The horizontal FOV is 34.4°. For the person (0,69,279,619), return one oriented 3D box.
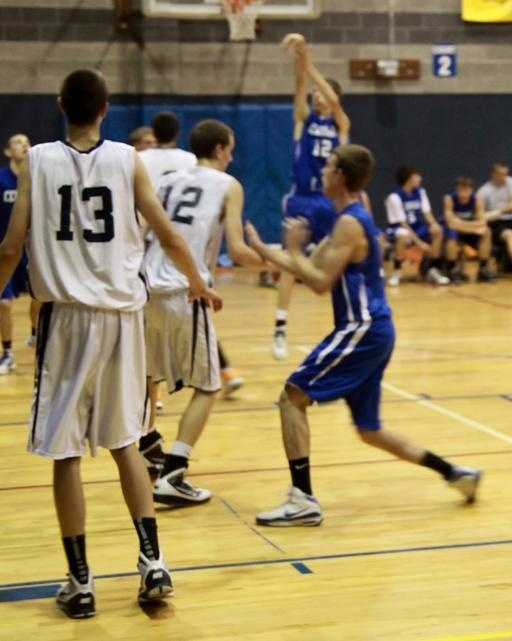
[{"bbox_3d":[-0.414,0.058,2.160,0.480,1.400,0.317,-1,7,-2],"label":"person"}]

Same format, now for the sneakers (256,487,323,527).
[{"bbox_3d":[0.131,0.646,2.896,0.279,0.179,0.097,1,-3,1],"label":"sneakers"}]

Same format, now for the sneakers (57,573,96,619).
[{"bbox_3d":[-0.461,0.705,2.139,0.063,0.101,0.154,0,3,-13],"label":"sneakers"}]

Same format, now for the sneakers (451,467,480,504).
[{"bbox_3d":[0.767,0.596,3.006,0.127,0.125,0.054,1,26,29],"label":"sneakers"}]
